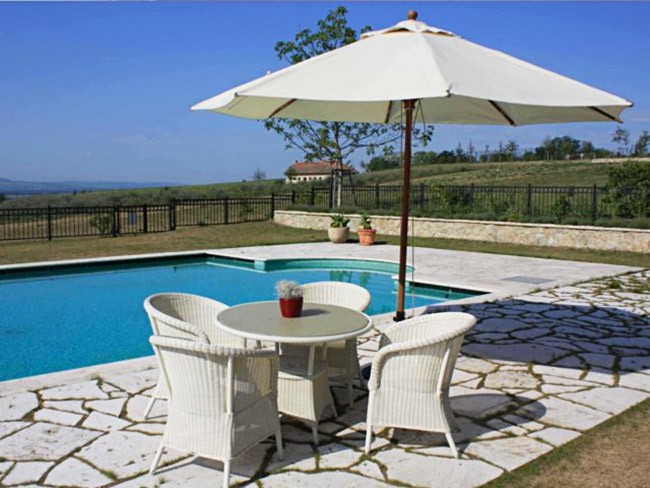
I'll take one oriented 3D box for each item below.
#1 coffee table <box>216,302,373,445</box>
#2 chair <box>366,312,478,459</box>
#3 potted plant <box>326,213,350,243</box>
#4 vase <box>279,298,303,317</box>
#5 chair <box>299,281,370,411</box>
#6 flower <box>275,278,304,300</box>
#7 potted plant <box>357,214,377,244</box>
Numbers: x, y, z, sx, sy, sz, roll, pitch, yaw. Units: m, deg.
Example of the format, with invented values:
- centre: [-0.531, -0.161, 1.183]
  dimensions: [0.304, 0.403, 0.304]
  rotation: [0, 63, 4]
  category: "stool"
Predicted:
- centre: [-0.267, 1.263, 4.790]
  dimensions: [1.511, 1.010, 1.499]
  rotation: [0, 4, -20]
  category: "coffee table"
- centre: [0.900, 1.258, 4.438]
  dimensions: [0.884, 1.119, 1.039]
  rotation: [1, 10, 21]
  category: "chair"
- centre: [0.604, -0.554, 17.371]
  dimensions: [1.005, 1.057, 0.878]
  rotation: [0, 2, 15]
  category: "potted plant"
- centre: [-0.336, 0.628, 4.781]
  dimensions: [0.201, 0.144, 0.202]
  rotation: [-1, -2, 30]
  category: "vase"
- centre: [0.229, 1.001, 5.454]
  dimensions: [0.919, 1.051, 0.856]
  rotation: [-1, 20, 21]
  category: "chair"
- centre: [-0.357, 0.444, 4.757]
  dimensions: [0.219, 0.147, 0.211]
  rotation: [3, 7, 22]
  category: "flower"
- centre: [1.468, -0.511, 16.900]
  dimensions: [0.791, 1.062, 0.800]
  rotation: [0, 5, -21]
  category: "potted plant"
